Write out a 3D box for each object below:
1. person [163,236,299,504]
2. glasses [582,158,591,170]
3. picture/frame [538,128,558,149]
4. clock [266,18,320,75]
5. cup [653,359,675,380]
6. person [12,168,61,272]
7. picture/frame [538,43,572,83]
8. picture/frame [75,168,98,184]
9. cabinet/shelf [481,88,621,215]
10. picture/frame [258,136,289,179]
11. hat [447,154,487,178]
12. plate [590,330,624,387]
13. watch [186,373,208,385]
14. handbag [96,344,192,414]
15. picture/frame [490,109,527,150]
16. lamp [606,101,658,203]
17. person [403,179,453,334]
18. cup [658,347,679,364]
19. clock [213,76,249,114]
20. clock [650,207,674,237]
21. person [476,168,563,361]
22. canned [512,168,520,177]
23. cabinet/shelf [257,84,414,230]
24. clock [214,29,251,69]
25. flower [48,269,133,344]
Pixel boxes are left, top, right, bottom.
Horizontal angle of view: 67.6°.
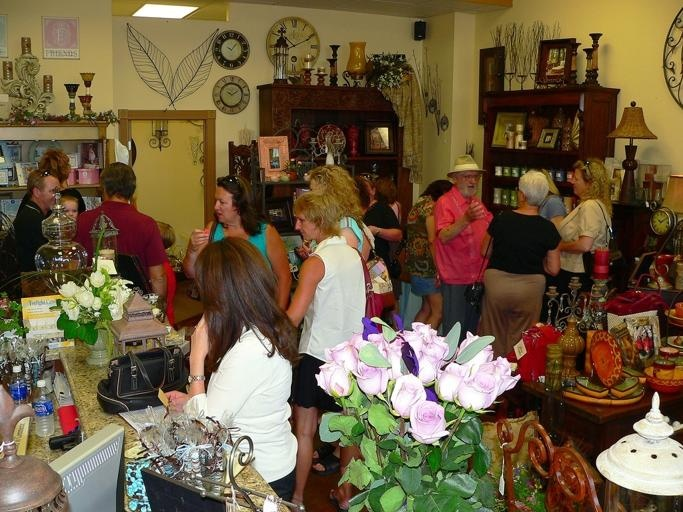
[{"bbox_3d":[-0.359,0.499,2.003,0.382,1.121,0.243,-2,8,-13],"label":"person"},{"bbox_3d":[2.405,-0.901,5.039,0.088,0.143,0.045,-9,10,-28],"label":"glasses"},{"bbox_3d":[2.734,-1.550,6.741,0.018,0.290,0.245,14,2,-37],"label":"picture/frame"},{"bbox_3d":[-0.763,-3.153,7.677,0.860,0.988,0.087,-5,6,-31],"label":"clock"},{"bbox_3d":[1.804,0.641,2.863,0.094,0.125,0.103,0,2,0],"label":"cup"},{"bbox_3d":[-2.448,-0.299,4.120,0.333,0.769,0.708,-5,10,-30],"label":"person"},{"bbox_3d":[2.779,-2.496,6.606,0.079,0.640,0.484,-2,6,-38],"label":"picture/frame"},{"bbox_3d":[-2.993,-0.922,6.025,0.167,0.212,0.195,3,2,0],"label":"picture/frame"},{"bbox_3d":[2.625,-1.342,6.290,0.607,2.152,1.748,-2,3,-34],"label":"cabinet/shelf"},{"bbox_3d":[-0.867,-1.225,6.445,0.497,0.794,0.094,0,-3,-33],"label":"picture/frame"},{"bbox_3d":[1.205,-0.877,5.001,0.291,0.201,0.291,5,11,34],"label":"hat"},{"bbox_3d":[1.453,0.551,2.812,0.172,0.287,0.198,5,10,33],"label":"plate"},{"bbox_3d":[-0.588,0.494,2.066,0.072,0.052,0.080,0,-11,-13],"label":"watch"},{"bbox_3d":[-0.940,0.551,2.386,0.419,0.260,0.233,-13,30,-33],"label":"handbag"},{"bbox_3d":[2.390,-1.806,7.250,0.078,0.778,0.551,9,-3,-41],"label":"picture/frame"},{"bbox_3d":[3.340,-1.203,5.866,0.660,1.145,0.400,-8,11,-41],"label":"lamp"},{"bbox_3d":[0.973,0.091,5.505,0.516,1.882,0.556,1,16,6],"label":"person"},{"bbox_3d":[1.873,0.564,2.924,0.079,0.076,0.100,0,0,9],"label":"cup"},{"bbox_3d":[-1.656,-2.406,7.556,0.461,0.540,0.065,-7,16,-15],"label":"clock"},{"bbox_3d":[3.088,-0.340,4.909,0.067,0.240,0.216,2,5,-20],"label":"clock"},{"bbox_3d":[1.559,0.092,4.439,0.620,1.618,0.302,2,8,19],"label":"person"},{"bbox_3d":[2.453,-1.174,7.203,0.099,0.133,0.109,0,4,2],"label":"canned"},{"bbox_3d":[-0.132,-1.372,6.440,2.051,2.296,0.701,-4,8,-24],"label":"cabinet/shelf"},{"bbox_3d":[-1.620,-3.040,7.460,0.492,0.575,0.030,-3,10,-23],"label":"clock"},{"bbox_3d":[-1.356,0.272,2.767,0.440,0.392,0.195,-1,8,-1],"label":"flower"}]
